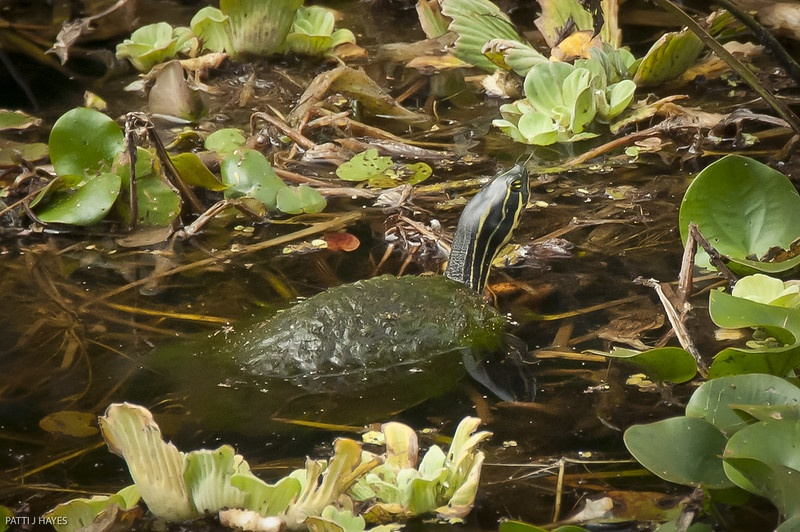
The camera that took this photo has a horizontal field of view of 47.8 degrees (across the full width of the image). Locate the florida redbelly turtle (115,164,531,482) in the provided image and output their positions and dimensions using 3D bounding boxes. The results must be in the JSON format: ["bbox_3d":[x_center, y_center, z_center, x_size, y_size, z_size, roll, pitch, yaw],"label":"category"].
[{"bbox_3d":[-0.179,0.206,3.892,1.684,0.446,0.988,-18,47,-22],"label":"florida redbelly turtle"}]
